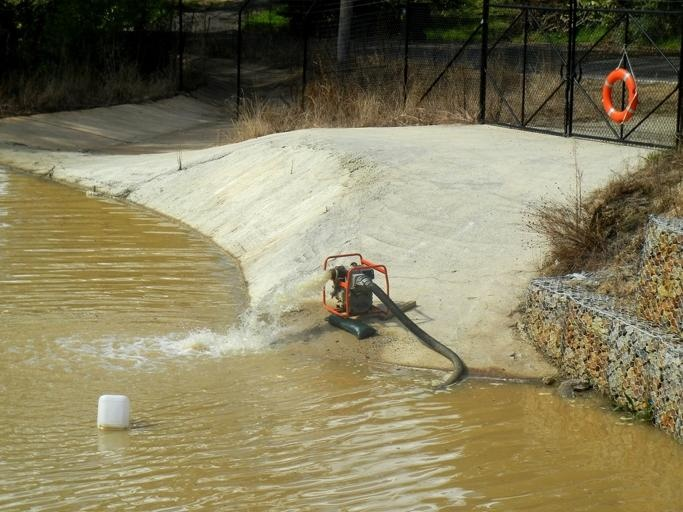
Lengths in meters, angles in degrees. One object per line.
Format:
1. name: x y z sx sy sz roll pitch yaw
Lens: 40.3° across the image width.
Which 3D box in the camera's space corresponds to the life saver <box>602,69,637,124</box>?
1. life saver: 4.379 -2.435 14.503 0.510 0.898 1.364 6 16 14
